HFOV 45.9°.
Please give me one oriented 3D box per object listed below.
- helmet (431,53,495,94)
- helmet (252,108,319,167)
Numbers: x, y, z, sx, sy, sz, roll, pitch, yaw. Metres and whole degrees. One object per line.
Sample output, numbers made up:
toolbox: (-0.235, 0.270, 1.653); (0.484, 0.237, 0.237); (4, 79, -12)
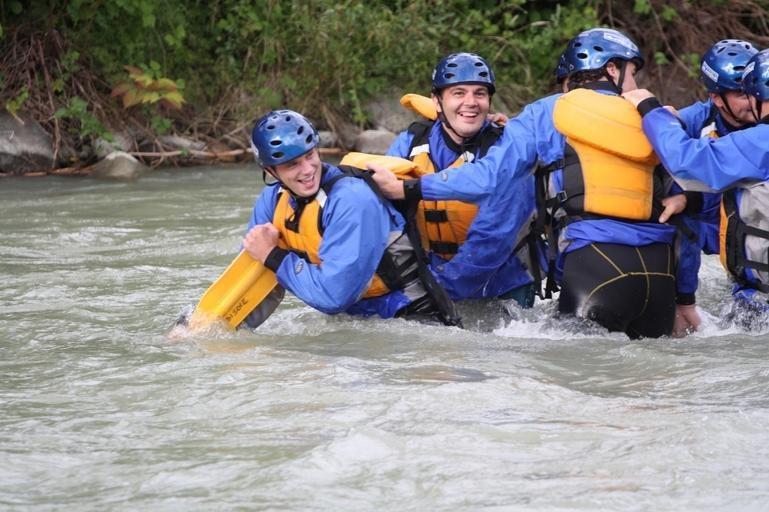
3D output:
helmet: (0.643, -1.438, 7.247); (0.490, 0.266, 0.571); (1, 12, 8)
helmet: (-0.743, -0.796, 6.717); (0.394, 0.374, 0.472); (-10, -9, -29)
